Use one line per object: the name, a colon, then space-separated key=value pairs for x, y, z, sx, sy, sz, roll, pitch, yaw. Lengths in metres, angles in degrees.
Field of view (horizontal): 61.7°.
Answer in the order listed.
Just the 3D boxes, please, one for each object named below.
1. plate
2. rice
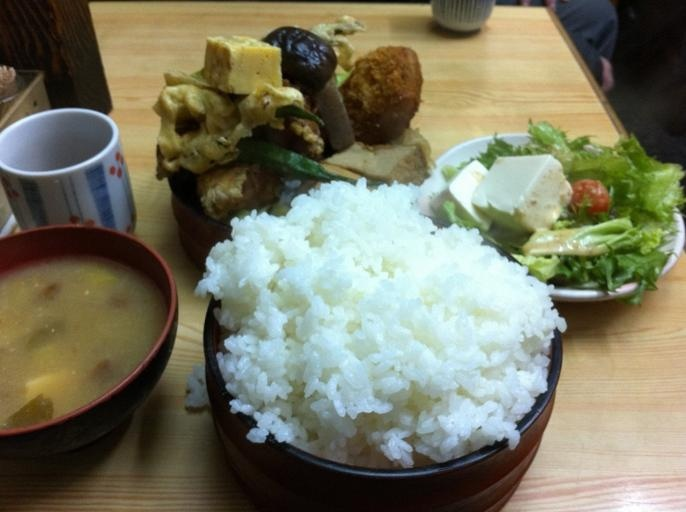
plate: x=0.401 y=-0.095 z=1.152 sx=0.372 sy=0.083 sz=0.403 roll=-5 pitch=48 yaw=-12
rice: x=0.057 y=0.071 z=0.897 sx=0.511 sy=0.353 sz=0.487 roll=4 pitch=23 yaw=30
